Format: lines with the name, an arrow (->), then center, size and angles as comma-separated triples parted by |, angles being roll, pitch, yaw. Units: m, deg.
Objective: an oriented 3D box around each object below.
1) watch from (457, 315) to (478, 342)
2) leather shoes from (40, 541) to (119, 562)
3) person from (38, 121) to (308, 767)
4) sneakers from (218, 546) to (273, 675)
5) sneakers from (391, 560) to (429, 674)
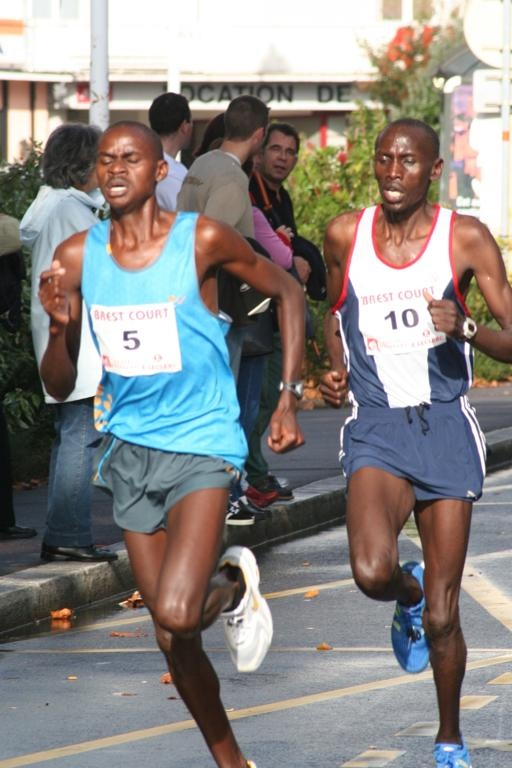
watch -> 0.560, -0.146, 2.693 | 0.050, 0.063, 0.066 | -4, 2, 2
leather shoes -> -0.907, 0.870, 5.315 | 0.407, 0.155, 0.130 | -1, 0, 0
person -> -0.242, 0.151, 2.603 | 0.721, 1.612, 0.964 | 0, 13, 2
sneakers -> -0.051, 0.621, 2.792 | 0.131, 0.339, 0.153 | -7, 15, 22
sneakers -> 0.487, 0.741, 3.204 | 0.132, 0.354, 0.162 | -2, 8, 11
